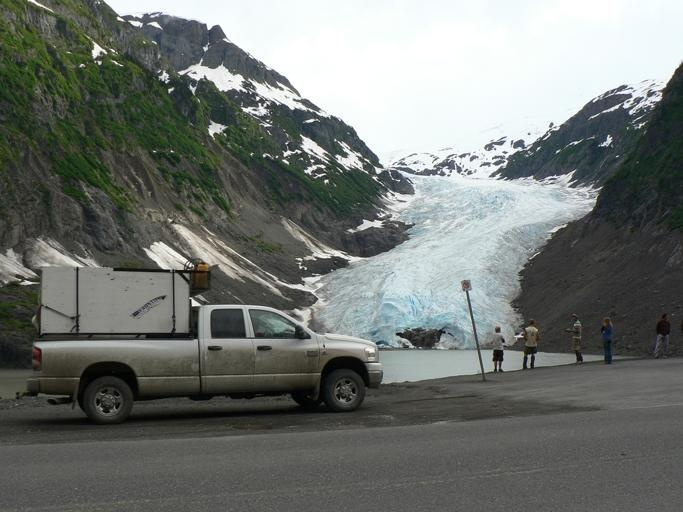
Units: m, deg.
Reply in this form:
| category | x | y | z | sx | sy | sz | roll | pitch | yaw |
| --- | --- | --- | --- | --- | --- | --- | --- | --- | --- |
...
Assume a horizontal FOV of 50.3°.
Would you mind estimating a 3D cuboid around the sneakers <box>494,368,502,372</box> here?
| category | x | y | z | sx | sy | sz | roll | pitch | yaw |
| --- | --- | --- | --- | --- | --- | --- | --- | --- | --- |
| sneakers | 5.374 | 3.925 | 25.094 | 0.213 | 0.115 | 0.107 | 2 | -6 | -35 |

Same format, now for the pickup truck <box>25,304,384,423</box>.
| category | x | y | z | sx | sy | sz | roll | pitch | yaw |
| --- | --- | --- | --- | --- | --- | --- | --- | --- | --- |
| pickup truck | -3.040 | 2.356 | 15.986 | 7.540 | 1.956 | 2.853 | 0 | -3 | -18 |
